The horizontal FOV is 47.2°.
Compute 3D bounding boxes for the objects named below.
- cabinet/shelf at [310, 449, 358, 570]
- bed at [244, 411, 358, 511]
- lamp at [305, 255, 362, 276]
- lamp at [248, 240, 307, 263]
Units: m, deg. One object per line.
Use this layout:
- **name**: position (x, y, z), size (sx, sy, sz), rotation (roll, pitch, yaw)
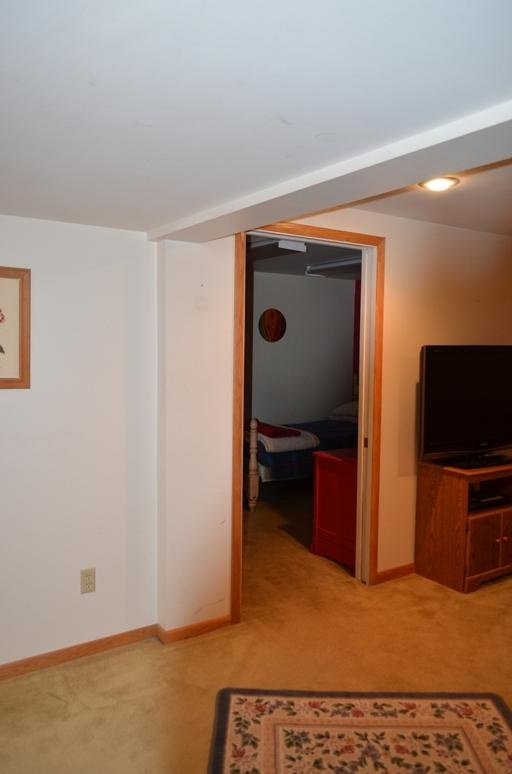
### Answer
- **cabinet/shelf**: position (0.544, 0.800, 3.879), size (0.190, 0.717, 0.569), rotation (-1, 4, -19)
- **bed**: position (0.391, 0.638, 5.700), size (1.089, 0.614, 0.695), rotation (-1, 3, -17)
- **lamp**: position (0.841, -1.298, 6.313), size (0.681, 0.124, 0.135), rotation (2, -6, 42)
- **lamp**: position (0.123, -1.117, 4.800), size (0.406, 0.103, 0.437), rotation (-9, 12, -38)
